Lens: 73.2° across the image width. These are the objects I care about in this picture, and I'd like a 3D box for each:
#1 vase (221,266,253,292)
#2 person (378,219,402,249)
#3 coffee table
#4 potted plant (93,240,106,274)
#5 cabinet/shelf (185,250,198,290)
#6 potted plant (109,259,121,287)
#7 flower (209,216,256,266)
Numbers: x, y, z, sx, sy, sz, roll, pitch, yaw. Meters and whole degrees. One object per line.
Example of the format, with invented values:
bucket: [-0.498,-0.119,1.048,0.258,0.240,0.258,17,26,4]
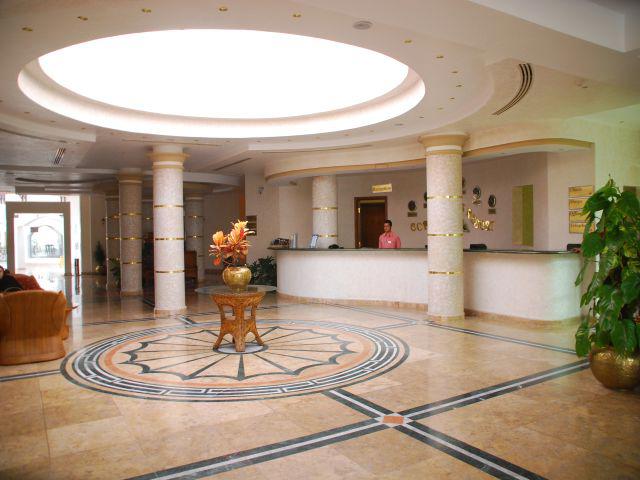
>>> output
vase: [-1.452,0.671,7.594,0.493,0.392,0.467,0,0,41]
person: [1.970,-0.173,12.038,0.520,0.758,1.499,-1,2,10]
coffee table: [-1.422,1.422,7.634,1.259,0.809,1.176,1,-10,-13]
potted plant: [-11.601,0.903,22.671,0.594,1.680,1.516,-3,3,-27]
cabinet/shelf: [-5.230,1.118,17.545,0.505,1.354,2.048,-2,2,-16]
potted plant: [-8.218,1.275,17.256,0.383,1.105,0.575,-3,3,-25]
flower: [-1.578,0.109,7.735,0.766,0.798,0.639,-14,34,-29]
